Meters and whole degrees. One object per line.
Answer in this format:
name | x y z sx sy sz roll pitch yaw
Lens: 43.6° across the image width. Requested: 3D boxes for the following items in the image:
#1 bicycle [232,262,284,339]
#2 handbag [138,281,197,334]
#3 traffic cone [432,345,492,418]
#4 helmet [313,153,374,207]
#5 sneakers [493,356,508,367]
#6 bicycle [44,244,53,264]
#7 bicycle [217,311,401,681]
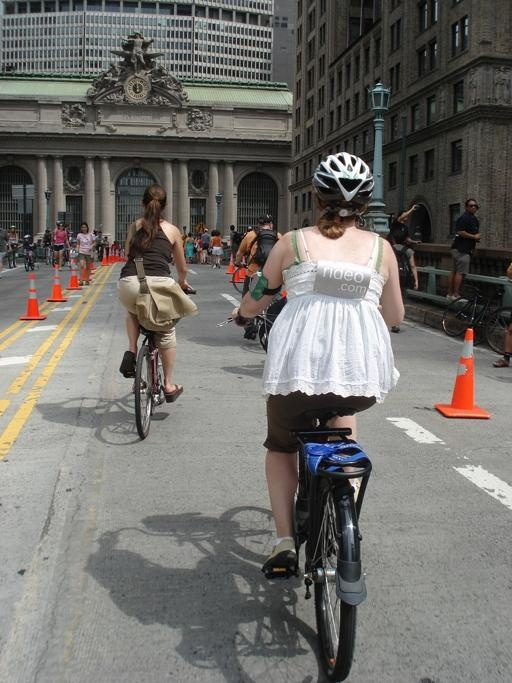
bicycle | 0.060 -0.361 9.400 0.621 0.717 1.161 0 29 -12
handbag | -0.805 -0.310 5.626 0.524 0.482 0.213 -5 11 -37
traffic cone | 2.123 0.442 6.731 0.562 0.739 0.608 1 9 -1
helmet | 0.310 -0.583 2.300 0.221 0.204 0.253 5 9 21
sneakers | 3.790 0.325 9.980 0.319 0.139 0.110 -1 12 -28
bicycle | -14.596 -6.047 45.144 1.018 1.294 2.114 0 12 -17
bicycle | 0.104 0.598 2.035 0.362 0.444 0.750 -1 10 -7
